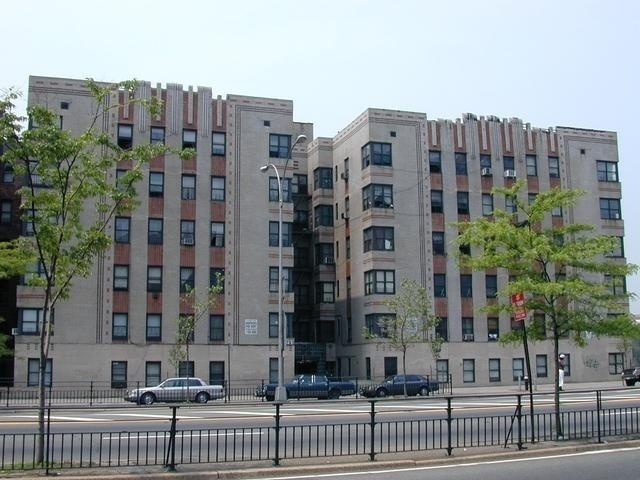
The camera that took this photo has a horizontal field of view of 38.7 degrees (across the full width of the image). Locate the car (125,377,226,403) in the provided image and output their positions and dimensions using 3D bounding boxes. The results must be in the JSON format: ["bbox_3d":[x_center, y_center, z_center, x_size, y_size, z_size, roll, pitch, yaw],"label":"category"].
[{"bbox_3d":[-8.812,9.324,56.488,5.857,1.588,1.877,8,-15,-35],"label":"car"}]
